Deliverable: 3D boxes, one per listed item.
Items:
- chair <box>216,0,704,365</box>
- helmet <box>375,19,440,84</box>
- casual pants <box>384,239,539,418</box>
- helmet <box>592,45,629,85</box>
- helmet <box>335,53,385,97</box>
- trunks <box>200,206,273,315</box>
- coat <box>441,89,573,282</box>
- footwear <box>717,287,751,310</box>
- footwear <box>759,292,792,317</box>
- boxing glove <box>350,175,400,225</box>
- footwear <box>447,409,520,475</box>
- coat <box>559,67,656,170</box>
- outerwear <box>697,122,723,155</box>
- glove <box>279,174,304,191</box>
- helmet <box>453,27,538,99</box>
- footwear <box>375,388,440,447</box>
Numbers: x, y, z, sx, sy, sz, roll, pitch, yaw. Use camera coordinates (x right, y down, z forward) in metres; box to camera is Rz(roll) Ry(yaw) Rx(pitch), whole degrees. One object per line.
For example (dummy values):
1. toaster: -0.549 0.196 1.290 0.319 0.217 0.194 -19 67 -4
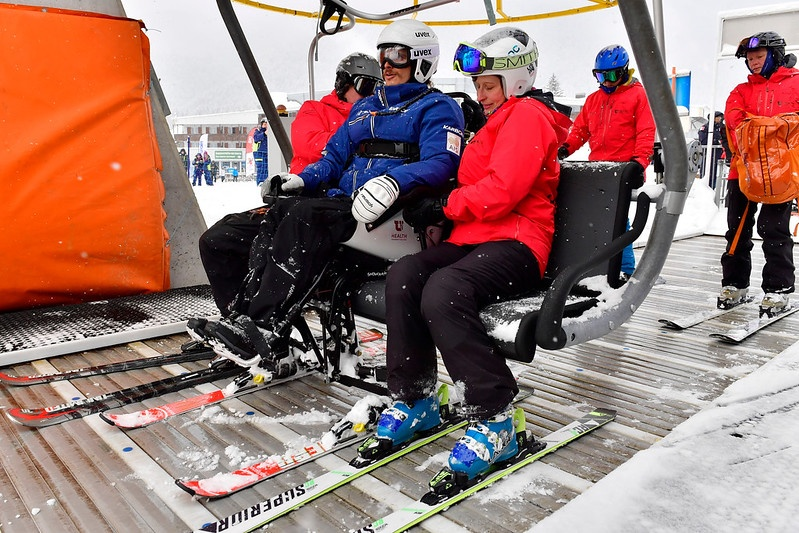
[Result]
1. chair: 0.489 -0.187 3.013 1.250 1.993 2.116 -16 16 -39
2. helmet: 0.091 -1.190 2.856 0.372 0.295 0.287 -20 32 -40
3. casual pants: 0.198 0.187 2.625 0.766 0.873 0.829 -6 5 -29
4. helmet: 1.893 -1.792 4.671 0.313 0.348 0.401 8 35 34
5. helmet: -0.294 -1.494 4.025 0.376 0.328 0.296 25 27 23
6. trunks: -0.986 -0.108 3.241 0.492 0.661 0.414 -5 17 -22
7. coat: 0.652 -0.371 2.932 0.813 1.014 0.940 6 6 -1
8. footwear: 2.939 0.257 4.654 0.491 0.211 0.152 -8 5 -31
9. footwear: 3.108 0.307 4.378 0.480 0.201 0.141 -9 1 -36
10. boxing glove: -0.091 -0.313 2.578 0.244 0.094 0.173 -44 61 -5
11. footwear: 0.400 0.760 2.454 0.461 0.255 0.168 -12 10 -39
12. coat: 1.960 -1.372 4.873 0.505 0.772 0.897 -26 28 -29
13. outerwear: 5.602 -2.317 9.359 0.352 0.606 0.500 -13 17 -21
14. glove: -0.646 -0.515 3.121 0.111 0.052 0.108 -14 23 -12
15. helmet: 0.490 -1.051 2.682 0.398 0.281 0.320 -16 31 -17
16. footwear: 0.062 0.748 2.686 0.456 0.209 0.147 -10 6 -44
